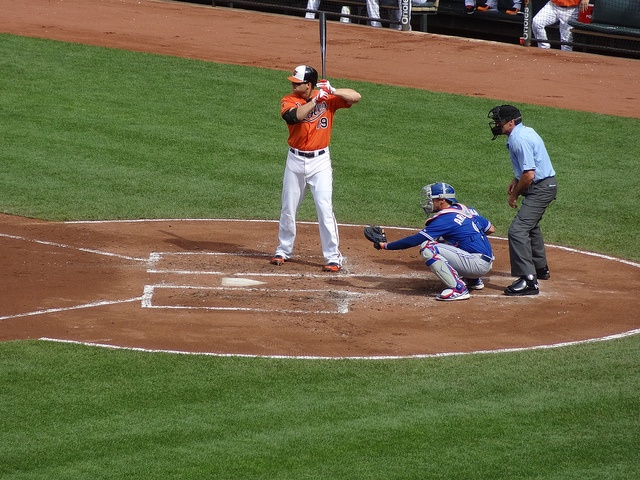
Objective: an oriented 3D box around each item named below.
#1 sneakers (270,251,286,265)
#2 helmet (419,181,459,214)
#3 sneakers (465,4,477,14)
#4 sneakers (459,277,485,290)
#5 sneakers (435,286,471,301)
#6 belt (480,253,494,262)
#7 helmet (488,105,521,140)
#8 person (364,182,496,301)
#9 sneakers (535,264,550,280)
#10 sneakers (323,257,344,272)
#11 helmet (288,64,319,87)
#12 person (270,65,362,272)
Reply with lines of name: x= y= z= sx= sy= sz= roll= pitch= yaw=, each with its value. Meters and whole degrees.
sneakers: x=-0.519 y=0.249 z=14.474 sx=0.123 sy=0.066 sz=0.166 roll=5 pitch=12 yaw=7
helmet: x=1.389 y=-0.497 z=13.692 sx=0.462 sy=0.330 sz=0.334 roll=3 pitch=14 yaw=11
sneakers: x=3.265 y=-5.108 z=25.901 sx=0.247 sy=0.229 sz=0.122 roll=20 pitch=19 yaw=40
sneakers: x=1.797 y=0.519 z=13.914 sx=0.322 sy=0.124 sz=0.105 roll=7 pitch=17 yaw=-2
sneakers: x=1.536 y=0.624 z=13.589 sx=0.394 sy=0.148 sz=0.140 roll=-3 pitch=11 yaw=-12
belt: x=1.922 y=0.202 z=13.619 sx=0.104 sy=0.036 sz=0.105 roll=16 pitch=1 yaw=33
helmet: x=2.189 y=-1.402 z=13.846 sx=0.424 sy=0.377 sz=0.367 roll=-5 pitch=8 yaw=23
person: x=1.378 y=-0.022 z=13.794 sx=1.518 sy=1.119 sz=1.039 roll=-7 pitch=16 yaw=-38
sneakers: x=2.629 y=0.414 z=14.196 sx=0.266 sy=0.149 sz=0.082 roll=-2 pitch=22 yaw=-3
sneakers: x=0.161 y=0.317 z=14.297 sx=0.121 sy=0.100 sz=0.251 roll=3 pitch=5 yaw=24
helmet: x=-0.208 y=-1.974 z=14.066 sx=0.341 sy=0.152 sz=0.214 roll=4 pitch=13 yaw=-5
person: x=-0.090 y=-0.858 z=14.272 sx=1.065 sy=2.435 sz=0.659 roll=11 pitch=16 yaw=8
